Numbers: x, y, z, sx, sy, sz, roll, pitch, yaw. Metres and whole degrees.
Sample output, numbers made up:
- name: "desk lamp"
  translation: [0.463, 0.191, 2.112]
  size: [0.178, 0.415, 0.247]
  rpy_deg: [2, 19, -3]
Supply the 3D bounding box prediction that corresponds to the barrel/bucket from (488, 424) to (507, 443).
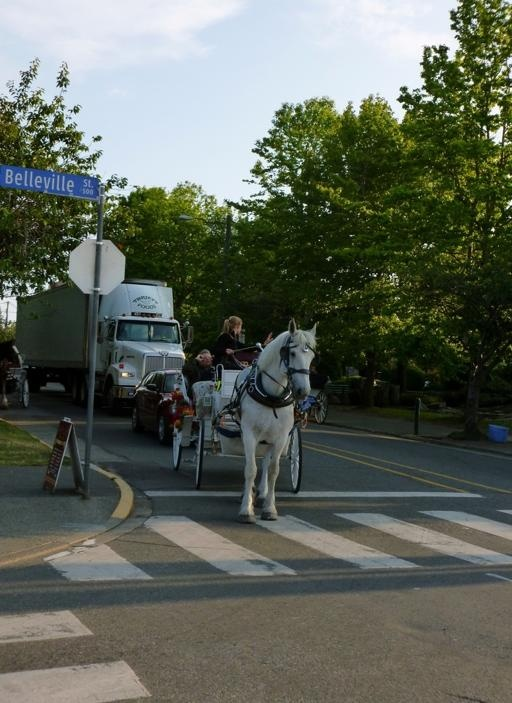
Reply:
- name: "barrel/bucket"
  translation: [7.318, 2.460, 22.290]
  size: [0.546, 0.356, 0.469]
  rpy_deg: [3, 2, -14]
